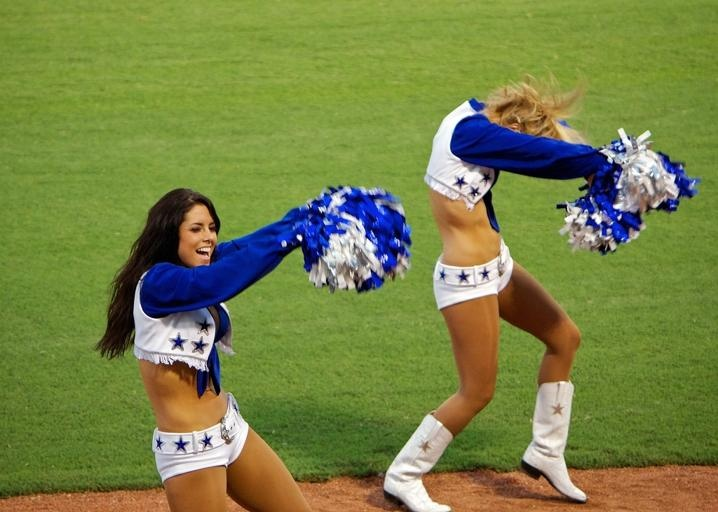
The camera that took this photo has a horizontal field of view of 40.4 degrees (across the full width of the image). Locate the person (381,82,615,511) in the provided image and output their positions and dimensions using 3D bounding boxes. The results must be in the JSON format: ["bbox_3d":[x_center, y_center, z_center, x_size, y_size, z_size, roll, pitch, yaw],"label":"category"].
[{"bbox_3d":[1.008,0.423,7.257,1.465,2.963,0.712,1,14,1],"label":"person"}]
